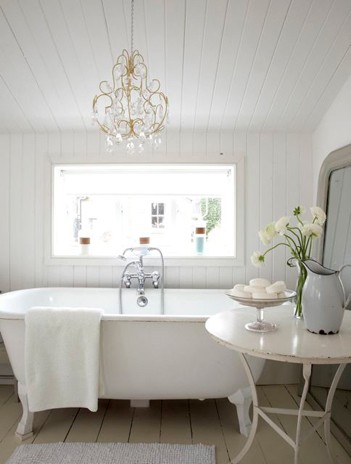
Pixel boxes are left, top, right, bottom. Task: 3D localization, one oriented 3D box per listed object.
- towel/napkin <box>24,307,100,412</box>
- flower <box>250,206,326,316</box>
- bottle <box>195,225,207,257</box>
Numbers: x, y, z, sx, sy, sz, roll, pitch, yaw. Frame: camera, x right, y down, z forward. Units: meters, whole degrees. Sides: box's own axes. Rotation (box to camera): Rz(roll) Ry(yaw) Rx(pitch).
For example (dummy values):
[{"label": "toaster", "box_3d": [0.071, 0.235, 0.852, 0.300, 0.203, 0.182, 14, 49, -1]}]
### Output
[{"label": "towel/napkin", "box_3d": [-0.623, 0.677, 2.076, 0.382, 0.592, 0.181, -1, 5, 2]}, {"label": "flower", "box_3d": [0.552, 0.152, 1.707, 0.320, 0.548, 0.350, -2, -18, 31]}, {"label": "bottle", "box_3d": [0.217, 0.072, 3.169, 0.089, 0.235, 0.111, 0, 3, 2]}]
